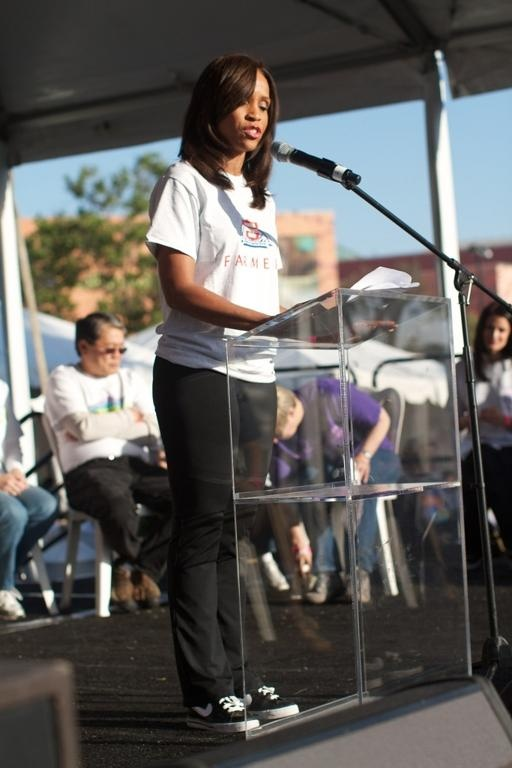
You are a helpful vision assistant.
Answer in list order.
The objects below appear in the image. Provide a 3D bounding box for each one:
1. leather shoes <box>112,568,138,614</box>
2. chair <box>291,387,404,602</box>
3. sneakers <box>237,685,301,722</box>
[{"bbox_3d":[-0.481,0.746,3.497,0.121,0.145,0.062,-8,6,-22],"label":"leather shoes"},{"bbox_3d":[0.130,0.183,1.687,0.212,0.391,0.118,-5,-3,35],"label":"chair"},{"bbox_3d":[0.022,0.575,1.733,0.043,0.043,0.113,-1,-11,-36],"label":"sneakers"}]
